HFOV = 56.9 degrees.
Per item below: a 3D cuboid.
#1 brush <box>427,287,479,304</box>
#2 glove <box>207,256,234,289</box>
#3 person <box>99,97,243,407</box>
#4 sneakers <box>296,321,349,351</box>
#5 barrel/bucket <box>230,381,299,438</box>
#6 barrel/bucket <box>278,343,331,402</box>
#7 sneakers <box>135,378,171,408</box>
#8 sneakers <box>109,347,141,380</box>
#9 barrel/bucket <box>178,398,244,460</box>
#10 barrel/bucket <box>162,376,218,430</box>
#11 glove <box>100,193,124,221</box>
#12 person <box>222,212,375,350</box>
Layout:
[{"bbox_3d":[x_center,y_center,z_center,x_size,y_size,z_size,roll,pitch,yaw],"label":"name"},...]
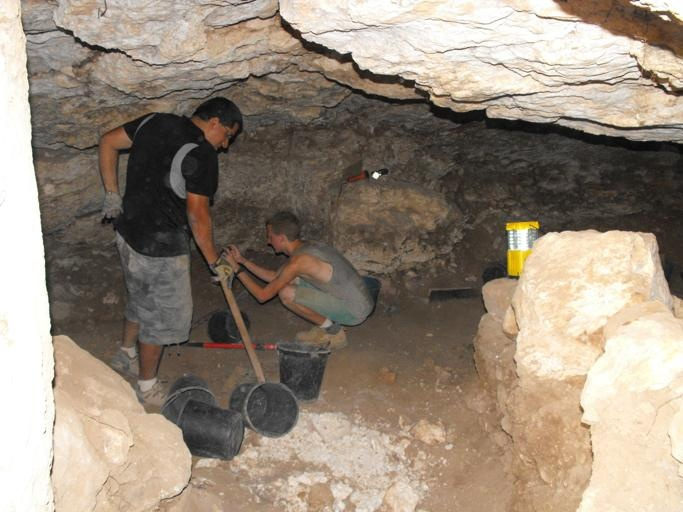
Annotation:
[{"bbox_3d":[0.911,0.318,5.141,0.403,0.098,0.123,2,21,3],"label":"brush"},{"bbox_3d":[-0.800,0.098,4.238,0.204,0.198,0.098,7,17,-10],"label":"glove"},{"bbox_3d":[-1.112,-0.032,4.117,0.865,1.909,0.650,-7,23,-20],"label":"person"},{"bbox_3d":[-0.145,0.591,4.703,0.386,0.166,0.160,5,13,7],"label":"sneakers"},{"bbox_3d":[-0.508,0.930,3.903,0.441,0.311,0.289,15,25,31],"label":"barrel/bucket"},{"bbox_3d":[-0.254,0.756,4.224,0.391,0.314,0.362,5,0,0],"label":"barrel/bucket"},{"bbox_3d":[-1.230,0.905,4.179,0.323,0.129,0.140,1,43,-13],"label":"sneakers"},{"bbox_3d":[-1.469,0.713,4.334,0.280,0.111,0.147,22,28,15],"label":"sneakers"},{"bbox_3d":[-0.767,1.013,3.651,0.312,0.199,0.186,9,30,33],"label":"barrel/bucket"},{"bbox_3d":[-0.934,0.895,3.826,0.295,0.221,0.276,11,-3,1],"label":"barrel/bucket"},{"bbox_3d":[-1.465,-0.316,4.092,0.187,0.214,0.059,1,6,-7],"label":"glove"},{"bbox_3d":[-0.320,0.183,4.706,1.180,0.986,0.581,6,19,4],"label":"person"}]
